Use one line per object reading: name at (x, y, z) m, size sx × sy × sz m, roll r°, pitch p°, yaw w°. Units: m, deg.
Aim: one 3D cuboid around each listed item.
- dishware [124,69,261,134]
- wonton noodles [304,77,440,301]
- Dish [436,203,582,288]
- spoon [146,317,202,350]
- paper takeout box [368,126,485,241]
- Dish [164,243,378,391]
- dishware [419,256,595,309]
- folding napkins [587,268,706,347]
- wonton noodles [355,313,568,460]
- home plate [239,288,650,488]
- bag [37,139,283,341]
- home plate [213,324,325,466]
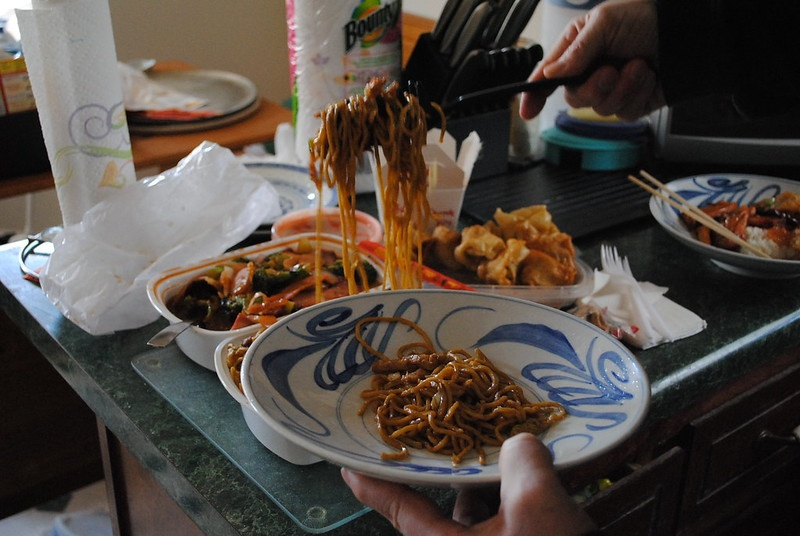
dishware at (-0.787, -0.660, 2.650) m, size 0.380 × 0.052 × 0.388 m, roll -8°, pitch 33°, yaw -13°
wonton noodles at (-0.020, -0.159, 1.426) m, size 0.235 × 0.443 × 0.142 m, roll 9°, pitch -3°, yaw -3°
Dish at (0.242, -0.046, 1.560) m, size 0.237 × 0.083 × 0.221 m, roll 11°, pitch 36°, yaw 20°
spoon at (-0.471, 0.142, 1.390) m, size 0.098 × 0.054 × 0.045 m, roll -22°, pitch 45°, yaw -22°
paper takeout box at (0.068, -0.180, 1.696) m, size 0.217 × 0.246 × 0.214 m, roll 1°, pitch 20°, yaw -5°
Dish at (-0.311, 0.125, 1.576) m, size 0.400 × 0.096 × 0.275 m, roll -26°, pitch 36°, yaw -28°
dishware at (0.311, 0.046, 1.509) m, size 0.228 × 0.043 × 0.156 m, roll 8°, pitch 30°, yaw 18°
folding napkins at (0.546, 0.101, 1.502) m, size 0.184 × 0.061 × 0.186 m, roll -14°, pitch 40°, yaw -26°
wonton noodles at (0.092, 0.250, 1.242) m, size 0.247 × 0.073 × 0.299 m, roll -16°, pitch 42°, yaw -25°
home plate at (0.077, 0.214, 1.200) m, size 0.678 × 0.149 × 0.452 m, roll -13°, pitch 43°, yaw -14°
bag at (-0.566, -0.099, 1.651) m, size 0.344 × 0.136 × 0.563 m, roll 39°, pitch 58°, yaw 17°
home plate at (-0.267, 0.278, 1.315) m, size 0.247 × 0.101 × 0.196 m, roll 37°, pitch 45°, yaw 25°
